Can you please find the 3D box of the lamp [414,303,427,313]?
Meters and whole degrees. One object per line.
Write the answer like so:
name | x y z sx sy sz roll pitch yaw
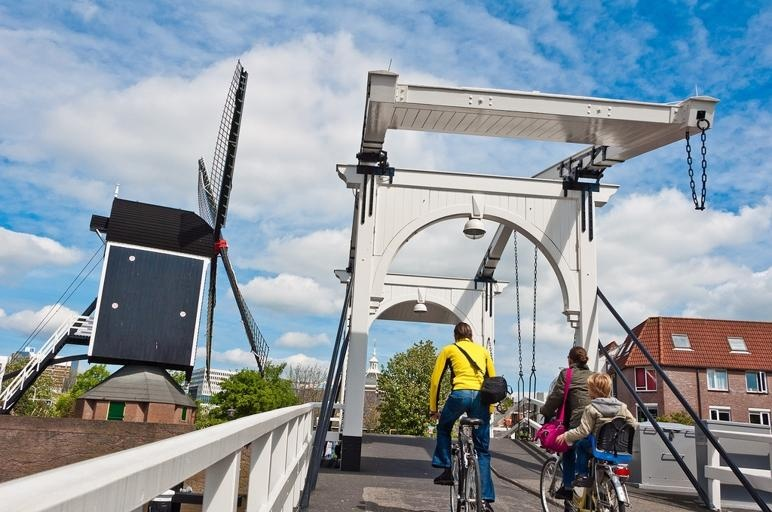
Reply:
lamp | 1.116 1.685 22.069 0.377 0.238 0.376 3 -21 -6

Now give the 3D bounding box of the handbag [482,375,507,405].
handbag | 1.740 2.189 10.862 0.455 0.464 0.235 4 -16 -5
